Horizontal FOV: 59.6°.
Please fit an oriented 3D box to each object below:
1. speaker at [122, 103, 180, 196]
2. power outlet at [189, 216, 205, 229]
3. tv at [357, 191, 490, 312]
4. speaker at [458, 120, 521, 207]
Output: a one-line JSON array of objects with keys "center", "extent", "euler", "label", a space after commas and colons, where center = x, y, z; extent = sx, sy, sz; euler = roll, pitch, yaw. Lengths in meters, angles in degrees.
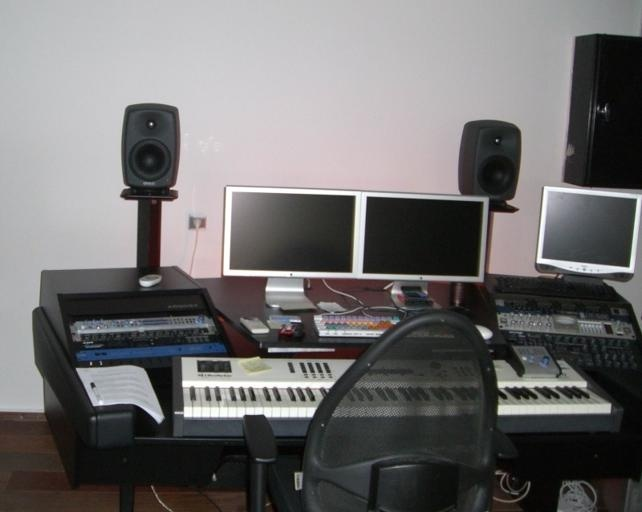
[{"center": [-0.804, -0.520, 2.663], "extent": [0.249, 0.384, 0.079], "euler": [0, 11, -3], "label": "speaker"}, {"center": [-0.705, -0.192, 3.202], "extent": [0.109, 0.084, 0.061], "euler": [0, 8, -12], "label": "power outlet"}, {"center": [0.446, -0.028, 2.497], "extent": [0.472, 0.524, 0.179], "euler": [3, 1, -3], "label": "tv"}, {"center": [0.915, -0.543, 3.025], "extent": [0.319, 0.481, 0.325], "euler": [14, 37, 33], "label": "speaker"}]
